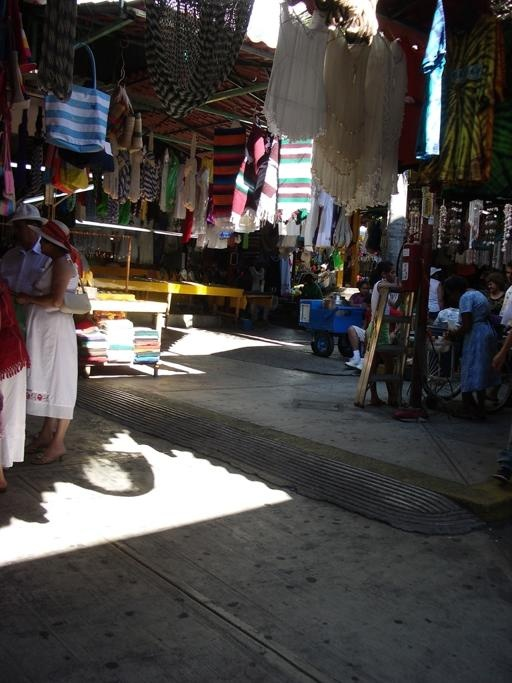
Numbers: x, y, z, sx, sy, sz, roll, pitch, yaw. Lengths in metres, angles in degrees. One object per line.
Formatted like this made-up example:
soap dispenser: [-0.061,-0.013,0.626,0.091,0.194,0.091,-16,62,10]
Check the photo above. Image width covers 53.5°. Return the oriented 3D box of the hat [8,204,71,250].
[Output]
hat: [-1.579,-0.809,3.654,0.313,0.127,0.347,-1,-1,-5]

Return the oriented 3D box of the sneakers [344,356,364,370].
sneakers: [1.667,0.407,9.271,0.607,0.237,0.192,1,4,7]

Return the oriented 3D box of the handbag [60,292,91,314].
handbag: [-1.230,-0.259,3.430,0.070,0.156,0.166,-14,-14,39]

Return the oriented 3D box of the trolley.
trolley: [1.546,-0.303,10.770,1.060,0.984,1.376,-3,12,-32]

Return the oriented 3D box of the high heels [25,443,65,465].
high heels: [-1.531,0.818,3.669,0.247,0.088,0.134,13,-3,-30]
